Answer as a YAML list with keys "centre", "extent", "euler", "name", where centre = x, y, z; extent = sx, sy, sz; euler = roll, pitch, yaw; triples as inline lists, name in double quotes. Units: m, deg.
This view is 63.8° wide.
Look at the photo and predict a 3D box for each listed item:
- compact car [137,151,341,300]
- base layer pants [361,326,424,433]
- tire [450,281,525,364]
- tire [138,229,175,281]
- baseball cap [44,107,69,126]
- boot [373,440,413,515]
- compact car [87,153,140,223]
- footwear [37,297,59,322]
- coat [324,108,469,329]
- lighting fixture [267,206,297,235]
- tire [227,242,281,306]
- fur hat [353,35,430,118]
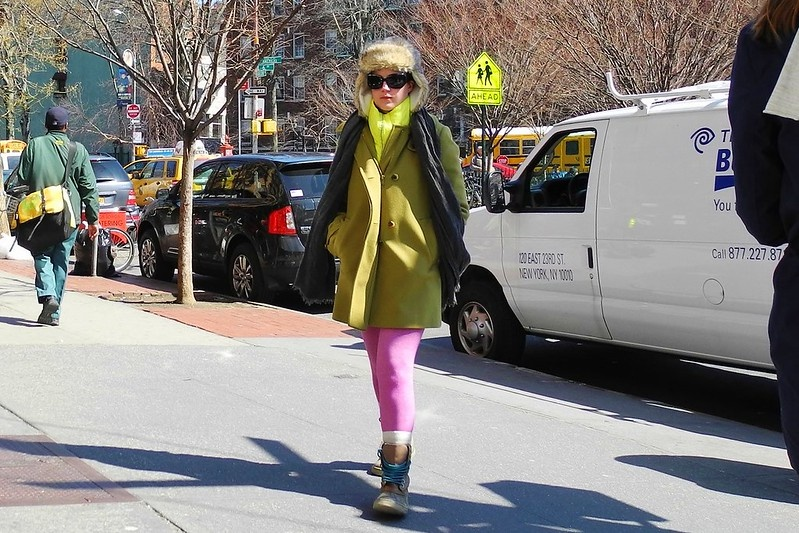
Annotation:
- centre: [-2.855, -0.811, 11.508]
  extent: [2.126, 2.077, 4.367]
  euler: [-1, 7, -40]
  name: "compact car"
- centre: [-0.029, 0.631, 3.705]
  extent: [0.300, 0.562, 0.425]
  euler: [2, 5, -21]
  name: "base layer pants"
- centre: [1.007, 0.625, 7.174]
  extent: [0.329, 1.029, 0.856]
  euler: [-1, -7, -39]
  name: "tire"
- centre: [-4.649, -0.237, 12.423]
  extent: [0.283, 0.897, 0.819]
  euler: [0, 9, -39]
  name: "tire"
- centre: [-4.074, -1.790, 7.679]
  extent: [0.212, 0.325, 0.170]
  euler: [3, -37, -18]
  name: "baseball cap"
- centre: [-0.036, 1.159, 3.553]
  extent: [0.195, 0.357, 0.296]
  euler: [4, 5, 2]
  name: "boot"
- centre: [-7.816, -2.204, 18.009]
  extent: [1.327, 1.333, 2.413]
  euler: [0, 9, -3]
  name: "compact car"
- centre: [-3.932, 0.500, 7.234]
  extent: [0.144, 0.356, 0.151]
  euler: [9, 30, -29]
  name: "footwear"
- centre: [-0.087, -0.222, 3.738]
  extent: [0.712, 1.179, 0.351]
  euler: [4, 5, 7]
  name: "coat"
- centre: [-1.810, -0.701, 9.828]
  extent: [0.399, 0.432, 0.407]
  euler: [4, 9, 31]
  name: "lighting fixture"
- centre: [-2.402, 0.080, 10.380]
  extent: [0.271, 0.898, 1.079]
  euler: [-1, 7, -45]
  name: "tire"
- centre: [-0.050, -1.171, 3.846]
  extent: [0.393, 0.446, 0.448]
  euler: [0, -7, 2]
  name: "fur hat"
